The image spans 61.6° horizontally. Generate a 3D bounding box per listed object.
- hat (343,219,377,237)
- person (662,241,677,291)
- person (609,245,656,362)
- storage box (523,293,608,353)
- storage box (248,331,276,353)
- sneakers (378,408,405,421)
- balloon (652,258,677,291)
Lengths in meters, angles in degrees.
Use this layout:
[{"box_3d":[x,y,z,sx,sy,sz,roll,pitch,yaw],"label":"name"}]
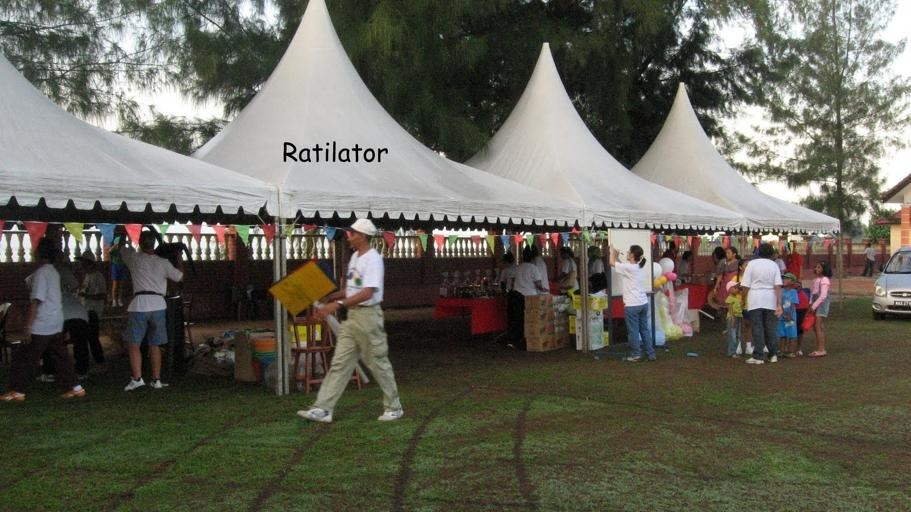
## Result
[{"box_3d":[-1.677,-0.522,13.670,0.410,0.221,0.303,10,0,2],"label":"hat"},{"box_3d":[5.777,0.281,20.589,0.474,1.204,0.481,10,-27,3],"label":"person"},{"box_3d":[4.132,1.091,17.655,0.847,2.661,1.225,-2,-4,19],"label":"person"},{"box_3d":[2.768,1.670,18.845,1.559,1.039,1.601,1,4,21],"label":"storage box"},{"box_3d":[-4.030,1.787,15.907,0.515,0.417,0.313,0,-4,-3],"label":"storage box"},{"box_3d":[-1.182,2.886,13.904,0.193,0.200,0.435,-7,-13,36],"label":"sneakers"},{"box_3d":[5.409,0.453,19.698,0.329,0.792,0.788,33,28,18],"label":"balloon"}]
